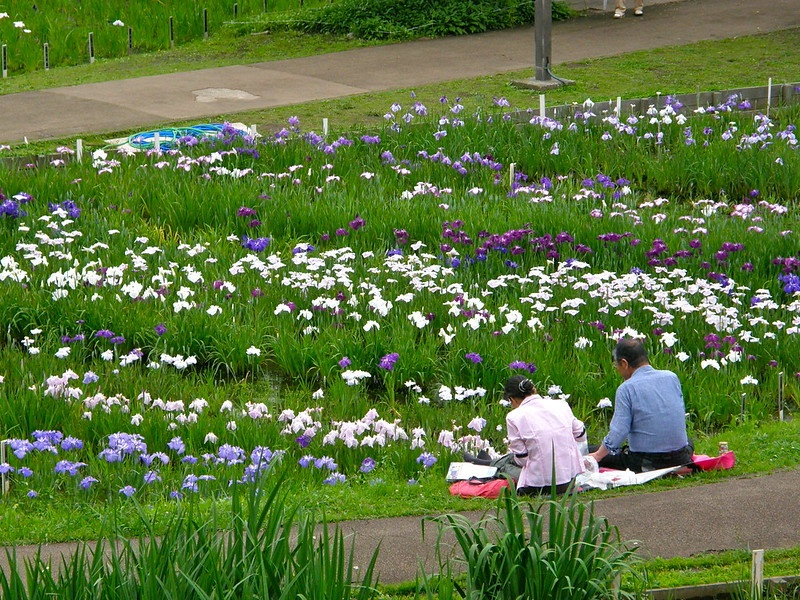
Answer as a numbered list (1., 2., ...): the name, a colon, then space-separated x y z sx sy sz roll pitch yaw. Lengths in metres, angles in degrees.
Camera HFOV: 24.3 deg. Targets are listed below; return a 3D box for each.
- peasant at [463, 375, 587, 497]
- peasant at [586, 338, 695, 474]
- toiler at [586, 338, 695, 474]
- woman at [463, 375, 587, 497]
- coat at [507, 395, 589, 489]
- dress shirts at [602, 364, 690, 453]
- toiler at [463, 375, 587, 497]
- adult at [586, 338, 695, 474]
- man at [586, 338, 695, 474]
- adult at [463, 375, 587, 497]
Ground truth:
1. peasant: 1.170 1.245 17.671 0.562 0.977 1.198 -8 11 -27
2. peasant: 2.351 1.027 17.971 1.010 1.358 0.848 -8 5 -39
3. toiler: 2.375 1.021 18.000 1.039 1.347 0.848 -7 4 -39
4. woman: 1.172 1.365 17.865 0.658 1.159 1.452 -7 -4 -28
5. coat: 1.381 1.382 17.455 0.724 1.044 0.760 -5 12 1
6. dress shirts: 2.321 1.053 17.611 0.811 0.828 0.231 -3 5 0
7. toiler: 1.171 1.331 17.834 0.640 1.158 1.415 -9 0 -29
8. adult: 2.372 1.033 17.976 0.997 1.380 0.850 -6 2 -30
9. man: 2.385 1.042 17.970 1.041 1.338 0.857 -7 3 -30
10. adult: 1.189 1.288 17.841 0.638 1.132 1.405 -10 4 -26
